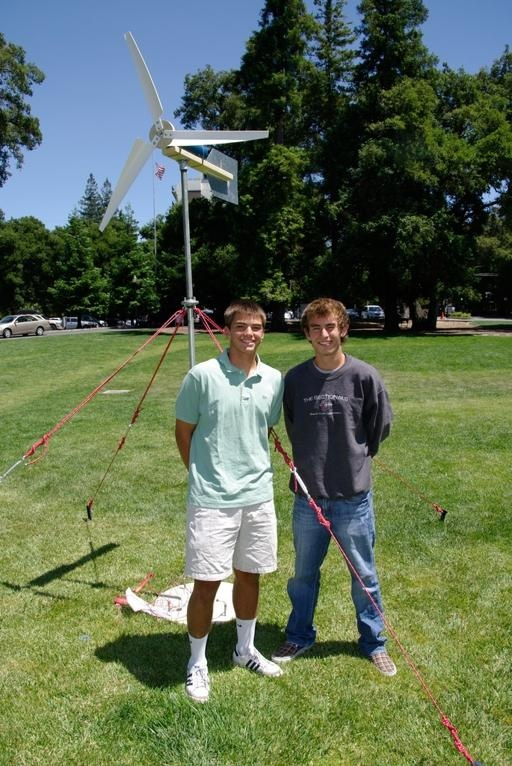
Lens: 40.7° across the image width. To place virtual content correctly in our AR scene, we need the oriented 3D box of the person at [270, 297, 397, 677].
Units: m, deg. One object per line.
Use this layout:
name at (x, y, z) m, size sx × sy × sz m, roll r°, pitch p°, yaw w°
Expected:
person at (0.432, 0.548, 3.713) m, size 0.665 × 1.981 × 0.338 m, roll 1°, pitch 8°, yaw 12°

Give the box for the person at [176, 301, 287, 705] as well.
person at (-0.124, 0.576, 3.539) m, size 0.614 × 1.969 × 0.444 m, roll -4°, pitch 9°, yaw -23°

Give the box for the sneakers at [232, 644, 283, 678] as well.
sneakers at (0.005, 1.501, 3.747) m, size 0.286 × 0.119 × 0.107 m, roll 3°, pitch 1°, yaw 32°

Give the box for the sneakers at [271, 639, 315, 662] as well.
sneakers at (0.186, 1.464, 3.841) m, size 0.077 × 0.080 × 0.215 m, roll 2°, pitch 6°, yaw 39°

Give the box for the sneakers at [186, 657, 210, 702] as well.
sneakers at (-0.294, 1.486, 3.434) m, size 0.120 × 0.131 × 0.183 m, roll -1°, pitch 8°, yaw -6°
